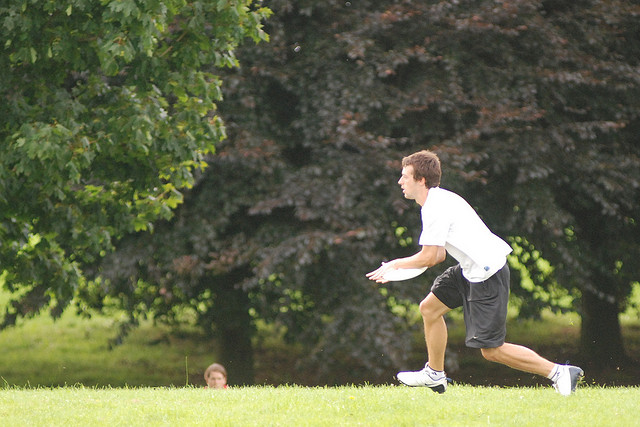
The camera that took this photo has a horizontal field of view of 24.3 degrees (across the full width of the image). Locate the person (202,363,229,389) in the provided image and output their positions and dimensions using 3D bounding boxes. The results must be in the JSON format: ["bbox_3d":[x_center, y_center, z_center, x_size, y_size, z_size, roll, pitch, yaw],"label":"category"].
[{"bbox_3d":[-2.246,3.585,31.507,0.498,0.789,0.500,0,-4,0],"label":"person"}]
